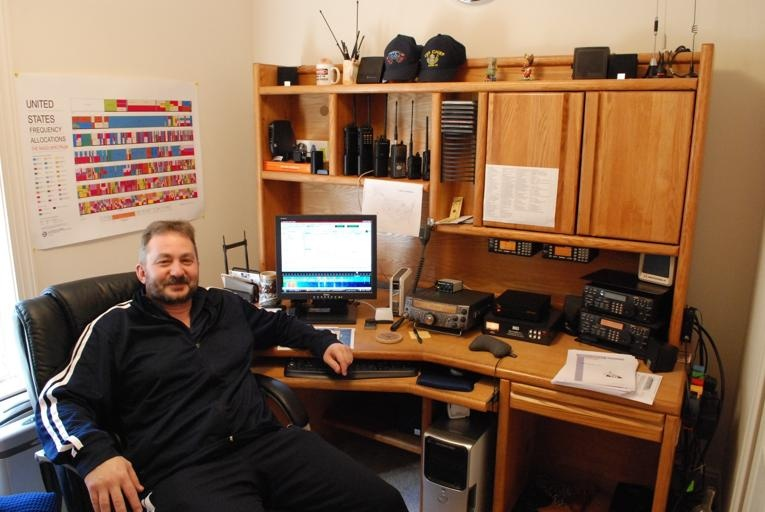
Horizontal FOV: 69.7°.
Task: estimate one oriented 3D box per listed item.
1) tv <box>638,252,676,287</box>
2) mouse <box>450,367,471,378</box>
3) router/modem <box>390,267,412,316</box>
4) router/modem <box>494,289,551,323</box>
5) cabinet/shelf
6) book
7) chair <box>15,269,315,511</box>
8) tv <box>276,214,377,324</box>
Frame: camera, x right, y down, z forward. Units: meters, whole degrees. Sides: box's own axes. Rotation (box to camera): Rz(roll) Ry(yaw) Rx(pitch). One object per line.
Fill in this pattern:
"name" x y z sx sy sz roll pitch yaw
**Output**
"tv" 1.412 0.076 2.826 0.026 0.184 0.171 2 4 -36
"mouse" 0.400 0.604 2.843 0.063 0.022 0.046 13 12 28
"router/modem" 0.109 0.227 3.229 0.104 0.273 0.266 3 7 21
"router/modem" 0.764 0.262 3.010 0.203 0.069 0.202 6 14 26
"cabinet/shelf" 0.380 -0.364 3.341 2.764 1.494 0.400 7 16 23
"book" 1.079 0.579 2.623 0.282 0.029 0.291 5 21 28
"chair" -1.010 0.432 2.992 1.309 1.434 1.141 -1 10 34
"tv" -0.330 0.068 3.231 0.705 0.677 0.243 0 1 3
